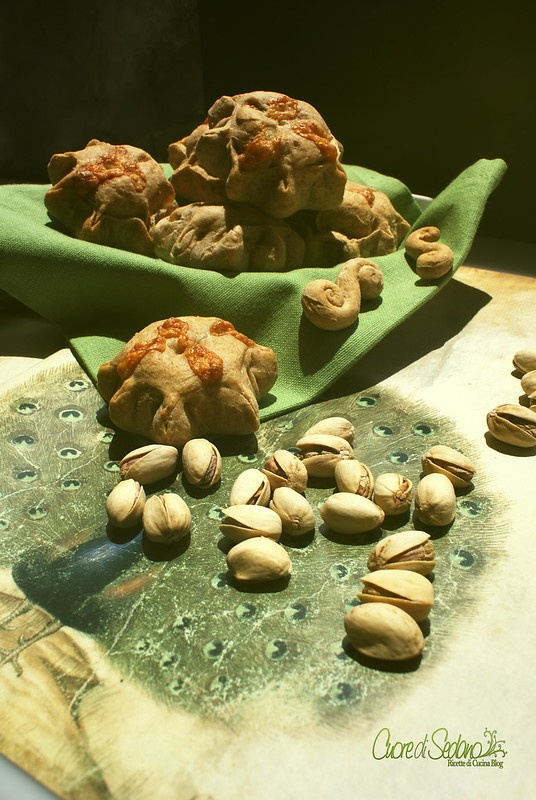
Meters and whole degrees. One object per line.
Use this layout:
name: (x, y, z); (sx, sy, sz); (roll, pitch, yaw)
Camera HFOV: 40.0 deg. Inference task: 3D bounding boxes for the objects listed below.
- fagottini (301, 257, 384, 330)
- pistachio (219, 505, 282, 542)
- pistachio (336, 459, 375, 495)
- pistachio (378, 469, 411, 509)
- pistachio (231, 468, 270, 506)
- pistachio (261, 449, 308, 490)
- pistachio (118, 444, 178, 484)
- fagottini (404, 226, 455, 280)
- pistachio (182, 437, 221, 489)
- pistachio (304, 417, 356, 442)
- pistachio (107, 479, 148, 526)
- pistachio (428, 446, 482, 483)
fagottini: (0.189, -0.261, 1.837); (0.130, 0.127, 0.246); (16, 34, 32)
pistachio: (-0.031, 0.213, 1.282); (0.091, 0.047, 0.065); (3, -3, -21)
pistachio: (0.166, 0.155, 1.409); (0.068, 0.051, 0.094); (-4, 28, 0)
pistachio: (0.231, 0.180, 1.369); (0.067, 0.064, 0.065); (-1, 29, 7)
pistachio: (-0.040, 0.156, 1.377); (0.056, 0.067, 0.039); (3, 17, 9)
pistachio: (0.029, 0.134, 1.416); (0.066, 0.046, 0.084); (14, 3, -20)
pistachio: (-0.234, 0.133, 1.473); (0.120, 0.071, 0.050); (-20, 33, -27)
fagottini: (0.438, -0.406, 2.007); (0.117, 0.065, 0.206); (-11, 42, 1)
pistachio: (-0.131, 0.127, 1.448); (0.073, 0.038, 0.091); (-15, 64, -19)
pistachio: (0.136, 0.057, 1.550); (0.079, 0.032, 0.058); (-3, 10, 7)
pistachio: (-0.252, 0.192, 1.343); (0.063, 0.049, 0.078); (5, 60, 3)
pistachio: (0.361, 0.124, 1.423); (0.087, 0.060, 0.046); (30, 35, -8)
